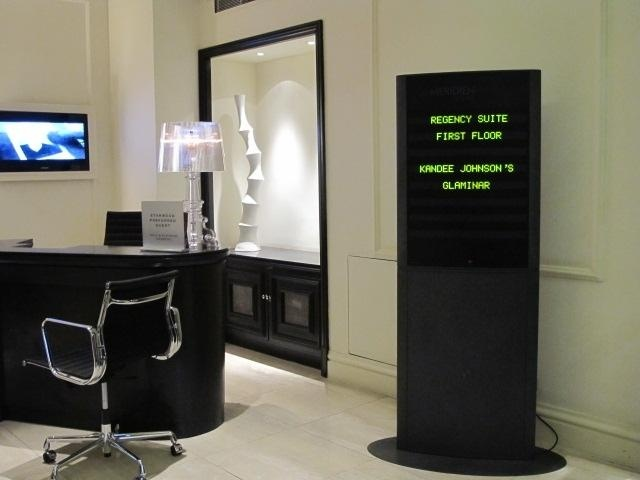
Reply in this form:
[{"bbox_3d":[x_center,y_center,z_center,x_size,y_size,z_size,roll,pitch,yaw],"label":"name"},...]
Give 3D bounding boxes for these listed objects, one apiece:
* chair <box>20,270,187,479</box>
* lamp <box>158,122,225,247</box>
[{"bbox_3d":[-1.337,0.781,3.215,0.859,1.193,0.692,3,8,25],"label":"chair"},{"bbox_3d":[-0.867,-0.391,3.735,0.420,0.864,0.495,-5,9,-32],"label":"lamp"}]
